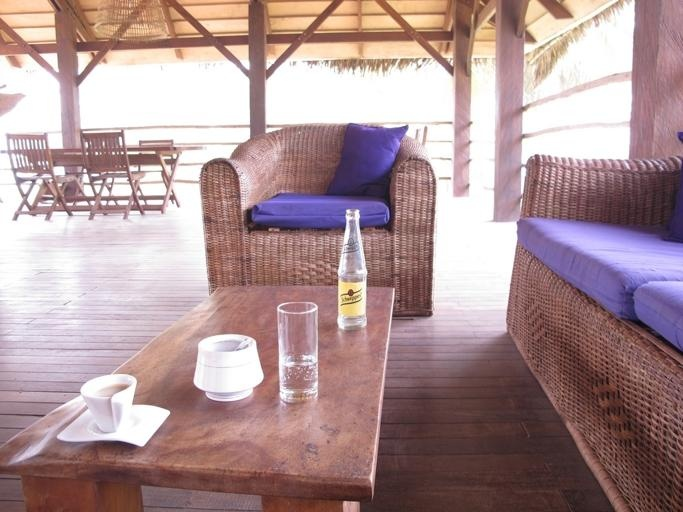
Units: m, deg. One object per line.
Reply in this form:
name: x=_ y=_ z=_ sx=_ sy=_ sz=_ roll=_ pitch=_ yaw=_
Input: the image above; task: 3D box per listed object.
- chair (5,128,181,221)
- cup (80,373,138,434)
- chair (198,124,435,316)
chair: x=-3.158 y=-1.069 z=6.816 sx=1.802 sy=1.051 sz=2.280 roll=-5 pitch=11 yaw=-22
cup: x=-0.399 y=0.273 z=0.986 sx=0.132 sy=0.073 sz=0.090 roll=1 pitch=9 yaw=8
chair: x=-0.160 y=-0.122 z=3.094 sx=1.654 sy=1.087 sz=1.126 roll=1 pitch=4 yaw=3
